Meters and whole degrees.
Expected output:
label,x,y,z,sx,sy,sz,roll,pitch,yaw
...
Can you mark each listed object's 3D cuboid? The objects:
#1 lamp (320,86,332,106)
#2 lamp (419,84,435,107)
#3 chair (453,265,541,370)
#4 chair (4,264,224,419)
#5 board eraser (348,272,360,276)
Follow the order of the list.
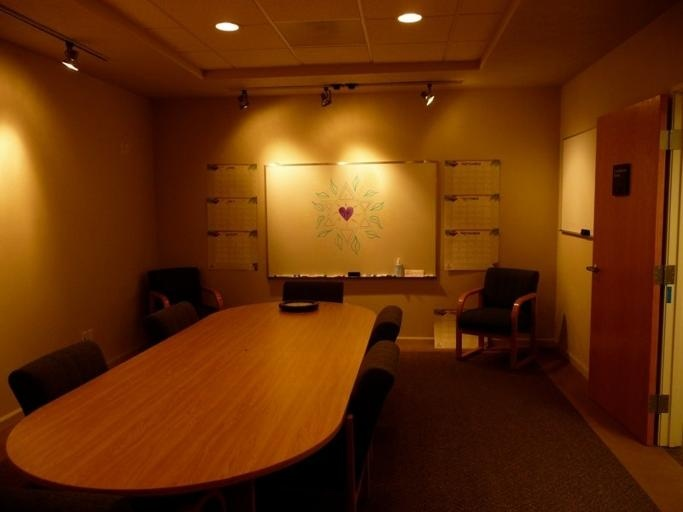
label,x,y,z,sx,sy,sz,roll,pitch,yaw
lamp,-0.174,-1.805,5.861,0.148,0.205,0.421,-1,11,-2
lamp,0.964,-1.803,5.806,0.158,0.223,0.351,1,11,10
chair,1.690,0.661,5.641,0.722,1.022,0.962,2,4,29
chair,-1.848,0.645,4.043,0.328,0.469,1.159,-8,16,28
board eraser,0.141,0.226,6.156,0.099,0.054,0.056,2,5,5
